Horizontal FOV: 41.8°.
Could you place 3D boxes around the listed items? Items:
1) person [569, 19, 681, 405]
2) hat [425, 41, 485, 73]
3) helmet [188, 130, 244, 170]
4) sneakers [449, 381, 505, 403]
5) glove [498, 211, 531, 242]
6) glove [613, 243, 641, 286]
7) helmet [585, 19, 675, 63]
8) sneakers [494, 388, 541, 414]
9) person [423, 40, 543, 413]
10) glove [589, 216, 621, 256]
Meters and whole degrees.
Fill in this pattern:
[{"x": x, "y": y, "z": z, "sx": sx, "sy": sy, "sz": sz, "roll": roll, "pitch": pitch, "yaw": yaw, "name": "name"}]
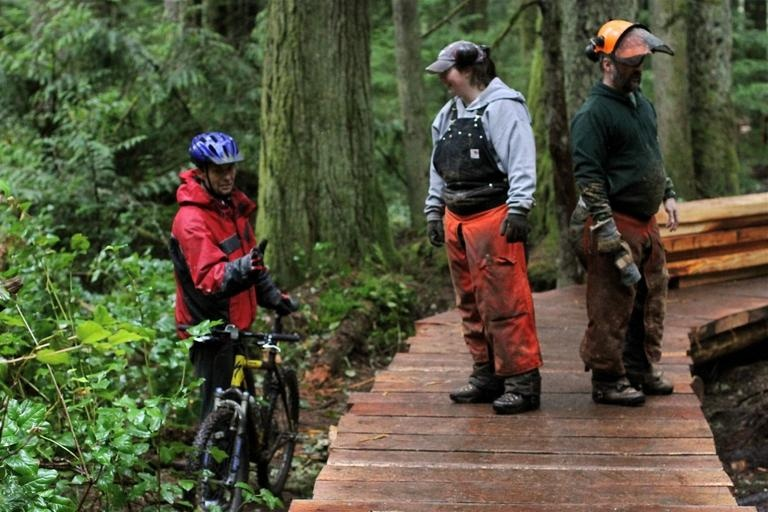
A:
[{"x": 2.176, "y": -0.348, "z": 9.232, "sx": 0.961, "sy": 3.515, "sz": 0.597, "roll": -8, "pitch": 12, "yaw": -6, "name": "person"}, {"x": 0.658, "y": -1.840, "z": 9.350, "sx": 0.569, "sy": 0.324, "sz": 0.366, "roll": -3, "pitch": 6, "yaw": -6, "name": "hat"}, {"x": -1.620, "y": -1.025, "z": 9.482, "sx": 0.591, "sy": 0.229, "sz": 0.423, "roll": 18, "pitch": 28, "yaw": 36, "name": "helmet"}, {"x": 0.881, "y": 1.322, "z": 9.614, "sx": 0.529, "sy": 0.262, "sz": 0.202, "roll": 0, "pitch": 7, "yaw": 0, "name": "sneakers"}, {"x": 1.178, "y": -0.248, "z": 9.068, "sx": 0.267, "sy": 0.312, "sz": 0.183, "roll": -6, "pitch": 12, "yaw": 5, "name": "glove"}, {"x": 2.184, "y": 0.072, "z": 9.078, "sx": 0.213, "sy": 0.399, "sz": 0.121, "roll": -2, "pitch": 13, "yaw": 24, "name": "glove"}, {"x": 2.187, "y": -1.947, "z": 9.096, "sx": 0.588, "sy": 0.283, "sz": 0.456, "roll": 13, "pitch": 27, "yaw": 30, "name": "helmet"}, {"x": 1.234, "y": 1.375, "z": 9.479, "sx": 0.482, "sy": 0.244, "sz": 0.186, "roll": -1, "pitch": 3, "yaw": -13, "name": "sneakers"}, {"x": 0.974, "y": -0.245, "z": 9.328, "sx": 0.970, "sy": 3.440, "sz": 0.670, "roll": -1, "pitch": 13, "yaw": 27, "name": "person"}, {"x": 2.033, "y": -0.104, "z": 9.097, "sx": 0.301, "sy": 0.328, "sz": 0.259, "roll": 12, "pitch": -33, "yaw": -15, "name": "glove"}]
